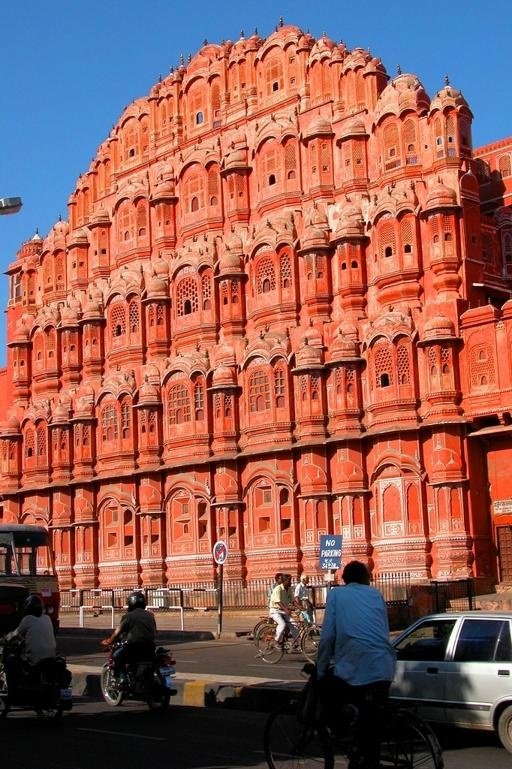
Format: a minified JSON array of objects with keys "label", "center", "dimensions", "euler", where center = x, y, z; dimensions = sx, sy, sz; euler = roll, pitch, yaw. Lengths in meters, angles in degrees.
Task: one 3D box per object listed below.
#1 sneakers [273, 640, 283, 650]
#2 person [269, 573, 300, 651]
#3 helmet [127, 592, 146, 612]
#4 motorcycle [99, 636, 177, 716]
[{"label":"sneakers","center":[0.408,4.978,16.536],"dimensions":[0.093,0.180,0.267],"euler":[7,-25,-15]},{"label":"person","center":[0.514,4.368,16.772],"dimensions":[0.492,1.343,0.583],"euler":[-4,-13,2]},{"label":"helmet","center":[-1.450,2.697,10.729],"dimensions":[0.184,0.242,0.245],"euler":[4,-9,-19]},{"label":"motorcycle","center":[-1.451,3.572,10.576],"dimensions":[1.161,0.803,0.527],"euler":[-15,-18,41]}]
